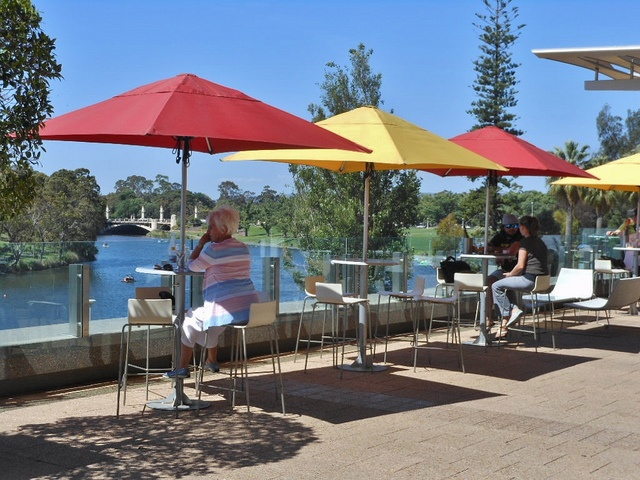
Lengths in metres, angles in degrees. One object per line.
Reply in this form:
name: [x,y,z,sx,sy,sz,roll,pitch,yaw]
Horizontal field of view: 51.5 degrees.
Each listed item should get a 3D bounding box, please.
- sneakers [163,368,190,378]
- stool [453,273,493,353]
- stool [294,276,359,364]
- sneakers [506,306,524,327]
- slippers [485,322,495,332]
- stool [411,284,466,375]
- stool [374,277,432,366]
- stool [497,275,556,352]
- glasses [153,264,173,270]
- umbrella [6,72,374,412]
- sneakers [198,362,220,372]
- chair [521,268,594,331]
sneakers: [-1.381,1.251,6.273,0.194,0.075,0.111,2,-7,4]
stool: [2.360,0.990,9.741,0.754,1.054,0.734,-6,-14,20]
stool: [0.158,1.039,8.385,0.571,0.953,0.587,-2,-5,37]
sneakers: [2.873,1.117,9.867,0.150,0.165,0.388,-26,-28,-39]
slippers: [2.598,1.324,10.143,0.127,0.156,0.400,-1,4,14]
stool: [1.527,1.102,8.443,0.765,1.053,0.756,1,-2,29]
stool: [1.169,1.231,10.121,0.704,1.123,0.680,4,-8,25]
stool: [2.971,0.958,9.351,0.530,0.938,0.507,6,3,35]
glasses: [-1.574,0.258,6.528,0.214,0.080,0.073,8,4,32]
umbrella: [-1.162,-0.244,6.950,3.420,2.903,3.137,1,0,-6]
sneakers: [-1.293,1.451,7.625,0.273,0.115,0.101,8,7,44]
chair: [3.732,0.854,10.592,1.252,0.865,0.941,-2,3,-41]
